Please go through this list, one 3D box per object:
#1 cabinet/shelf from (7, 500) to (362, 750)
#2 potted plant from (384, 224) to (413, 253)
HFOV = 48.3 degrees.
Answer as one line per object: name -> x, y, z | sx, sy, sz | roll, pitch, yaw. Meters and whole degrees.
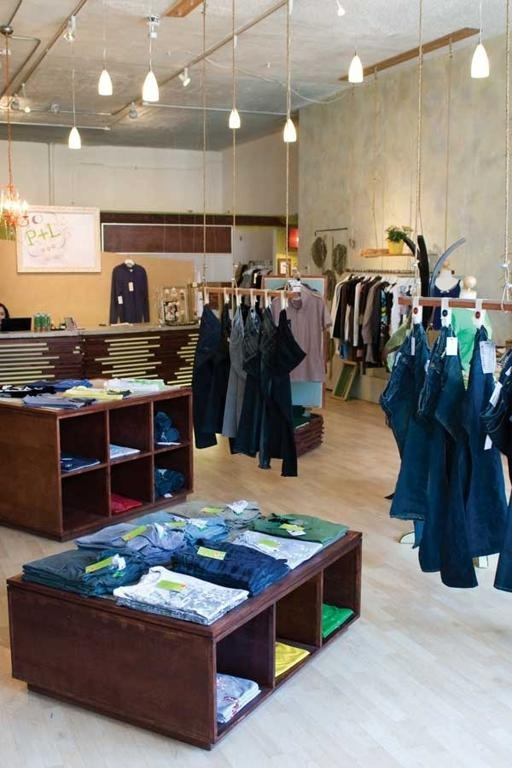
cabinet/shelf -> -0.239, 0.911, 2.287 | 0.923, 0.564, 1.168 | 8, 5, 34
potted plant -> 1.854, -1.898, 7.398 | 0.309, 0.406, 0.841 | 5, 4, 11
